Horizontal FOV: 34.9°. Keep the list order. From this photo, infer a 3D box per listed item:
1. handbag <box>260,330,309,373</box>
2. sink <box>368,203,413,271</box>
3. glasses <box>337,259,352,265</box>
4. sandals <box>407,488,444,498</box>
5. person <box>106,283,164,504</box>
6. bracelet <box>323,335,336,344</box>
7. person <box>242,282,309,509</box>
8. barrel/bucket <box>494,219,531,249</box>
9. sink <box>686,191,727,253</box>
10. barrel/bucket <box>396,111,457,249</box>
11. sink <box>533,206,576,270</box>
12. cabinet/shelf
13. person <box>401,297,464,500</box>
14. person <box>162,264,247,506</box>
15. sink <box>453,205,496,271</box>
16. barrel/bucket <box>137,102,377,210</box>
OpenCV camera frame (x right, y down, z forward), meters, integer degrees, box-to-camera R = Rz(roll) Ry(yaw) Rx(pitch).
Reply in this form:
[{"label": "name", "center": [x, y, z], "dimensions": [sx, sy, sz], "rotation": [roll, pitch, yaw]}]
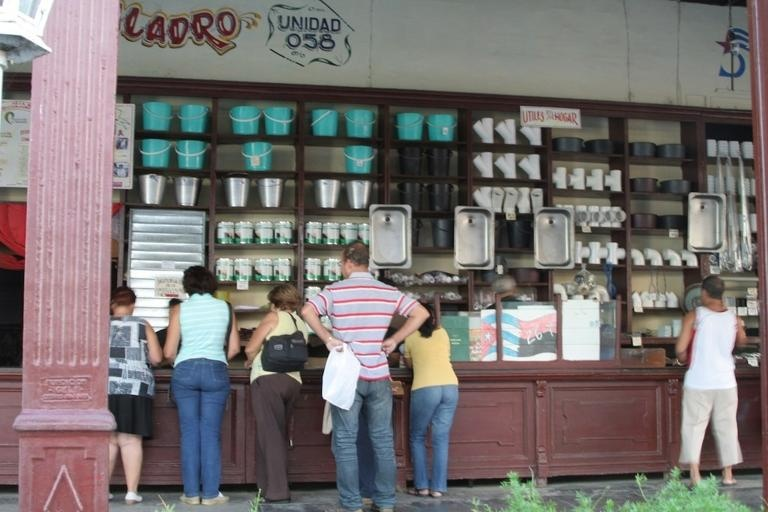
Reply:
[{"label": "handbag", "center": [-0.780, 0.780, 9.855], "dimensions": [0.341, 0.326, 0.270], "rotation": [5, -2, -12]}, {"label": "sink", "center": [0.072, -0.188, 11.512], "dimensions": [0.435, 0.570, 0.317], "rotation": [2, 3, -3]}, {"label": "glasses", "center": [-0.315, 0.053, 10.063], "dimensions": [0.093, 0.062, 0.073], "rotation": [3, 1, 13]}, {"label": "sandals", "center": [0.363, 1.977, 10.208], "dimensions": [0.291, 0.111, 0.101], "rotation": [2, -5, 27]}, {"label": "person", "center": [-2.017, 1.132, 9.966], "dimensions": [0.447, 1.759, 0.311], "rotation": [0, -6, -17]}, {"label": "bracelet", "center": [-0.413, 0.647, 9.436], "dimensions": [0.052, 0.072, 0.075], "rotation": [-3, 0, -35]}, {"label": "person", "center": [-0.881, 1.120, 9.911], "dimensions": [0.473, 1.628, 0.610], "rotation": [10, 2, -38]}, {"label": "barrel/bucket", "center": [1.301, -0.212, 12.048], "dimensions": [0.431, 0.266, 0.284], "rotation": [1, -7, 1]}, {"label": "sink", "center": [3.187, -0.330, 12.050], "dimensions": [0.319, 0.582, 0.353], "rotation": [-5, 2, 15]}, {"label": "barrel/bucket", "center": [0.409, -0.735, 11.826], "dimensions": [0.582, 1.321, 0.430], "rotation": [2, 1, -6]}, {"label": "sink", "center": [1.648, -0.171, 11.722], "dimensions": [0.391, 0.591, 0.220], "rotation": [-3, -6, 5]}, {"label": "cabinet/shelf", "center": [0.315, -0.320, 11.420], "dimensions": [6.651, 2.589, 1.362], "rotation": [3, -2, -11]}, {"label": "person", "center": [0.380, 1.226, 10.073], "dimensions": [0.561, 1.412, 0.421], "rotation": [5, -1, -1]}, {"label": "person", "center": [-1.471, 1.052, 9.964], "dimensions": [0.605, 1.932, 0.262], "rotation": [-1, -6, -10]}, {"label": "sink", "center": [0.884, -0.172, 11.715], "dimensions": [0.397, 0.580, 0.322], "rotation": [3, 1, 9]}, {"label": "barrel/bucket", "center": [-0.988, -0.943, 11.674], "dimensions": [2.874, 0.941, 0.751], "rotation": [2, 0, -11]}]
